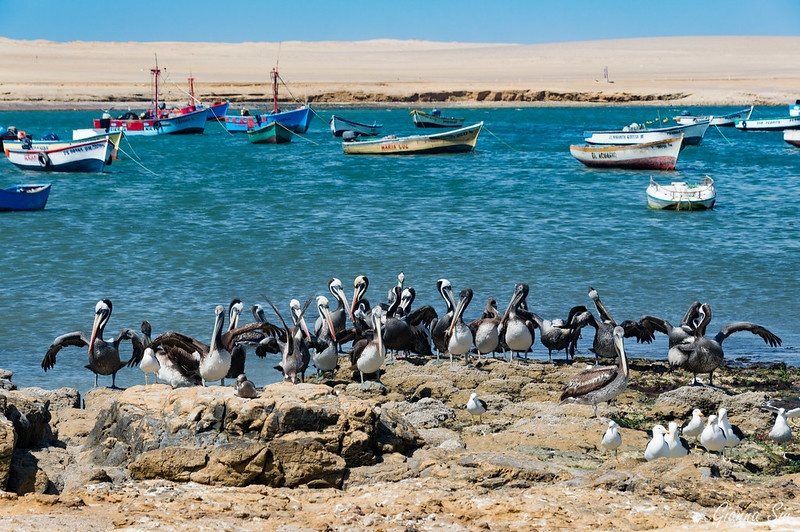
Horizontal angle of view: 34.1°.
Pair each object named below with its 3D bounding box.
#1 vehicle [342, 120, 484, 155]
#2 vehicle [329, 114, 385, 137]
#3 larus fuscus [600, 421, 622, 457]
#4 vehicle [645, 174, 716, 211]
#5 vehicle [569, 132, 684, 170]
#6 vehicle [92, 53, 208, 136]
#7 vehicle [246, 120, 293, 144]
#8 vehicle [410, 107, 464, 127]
[{"bbox_3d":[1.088,-8.400,88.971,8.760,2.034,2.839,-3,14,-1],"label":"vehicle"},{"bbox_3d":[-3.360,-11.454,107.775,4.233,1.294,2.085,1,13,-18],"label":"vehicle"},{"bbox_3d":[6.915,5.690,42.770,0.637,1.140,0.477,-1,16,7],"label":"larus fuscus"},{"bbox_3d":[14.886,-3.761,69.848,2.420,1.191,2.877,1,12,7],"label":"vehicle"},{"bbox_3d":[14.570,-7.287,82.581,7.664,2.232,2.429,4,8,41],"label":"vehicle"},{"bbox_3d":[-20.104,-13.397,107.463,9.791,5.317,3.442,1,13,27],"label":"vehicle"},{"bbox_3d":[-10.104,-10.556,103.060,2.179,1.208,3.688,-4,8,-16],"label":"vehicle"},{"bbox_3d":[3.735,-13.639,120.884,7.205,1.806,2.021,1,-1,-43],"label":"vehicle"}]
